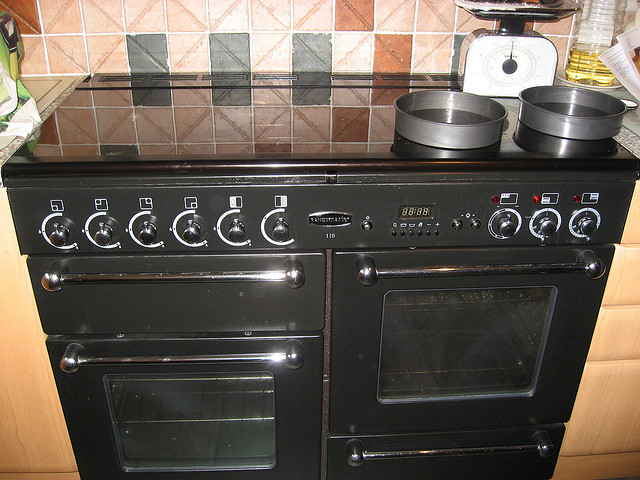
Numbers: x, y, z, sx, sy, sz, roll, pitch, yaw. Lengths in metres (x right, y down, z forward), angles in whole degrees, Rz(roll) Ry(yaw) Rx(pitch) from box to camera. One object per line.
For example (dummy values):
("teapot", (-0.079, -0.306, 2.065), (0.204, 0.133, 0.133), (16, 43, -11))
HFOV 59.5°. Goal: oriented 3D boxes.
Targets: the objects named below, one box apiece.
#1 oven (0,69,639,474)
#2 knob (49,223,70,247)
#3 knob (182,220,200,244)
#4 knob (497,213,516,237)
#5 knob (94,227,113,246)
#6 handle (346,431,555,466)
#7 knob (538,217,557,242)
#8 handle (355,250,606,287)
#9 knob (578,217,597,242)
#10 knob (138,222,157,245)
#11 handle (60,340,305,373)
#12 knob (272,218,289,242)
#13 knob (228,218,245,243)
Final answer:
("oven", (-0.003, 0.128, 1.557), (1.109, 0.969, 0.571), (1, 37, -4))
("knob", (-0.666, -0.015, 1.427), (0.045, 0.058, 0.027), (1, -9, -15))
("knob", (-0.326, -0.021, 1.429), (0.040, 0.055, 0.053), (-2, 12, -4))
("knob", (0.497, -0.041, 1.456), (0.042, 0.058, 0.021), (-1, 19, 10))
("knob", (-0.560, -0.010, 1.421), (0.034, 0.048, 0.018), (4, 1, -7))
("handle", (0.403, 0.648, 1.734), (0.642, 0.064, 0.111), (-4, 4, 2))
("knob", (0.600, -0.028, 1.459), (0.037, 0.051, 0.017), (4, 16, 3))
("handle", (0.429, 0.074, 1.502), (0.669, 0.085, 0.069), (-1, -9, -3))
("knob", (0.709, -0.029, 1.471), (0.039, 0.052, 0.015), (-2, 13, -6))
("knob", (-0.442, -0.018, 1.434), (0.044, 0.055, 0.033), (2, -9, -18))
("handle", (-0.380, 0.321, 1.547), (0.664, 0.067, 0.106), (0, 3, -4))
("knob", (-0.101, -0.030, 1.439), (0.054, 0.078, 0.027), (0, 37, -4))
("knob", (-0.213, -0.023, 1.430), (0.038, 0.055, 0.038), (0, 8, 0))
